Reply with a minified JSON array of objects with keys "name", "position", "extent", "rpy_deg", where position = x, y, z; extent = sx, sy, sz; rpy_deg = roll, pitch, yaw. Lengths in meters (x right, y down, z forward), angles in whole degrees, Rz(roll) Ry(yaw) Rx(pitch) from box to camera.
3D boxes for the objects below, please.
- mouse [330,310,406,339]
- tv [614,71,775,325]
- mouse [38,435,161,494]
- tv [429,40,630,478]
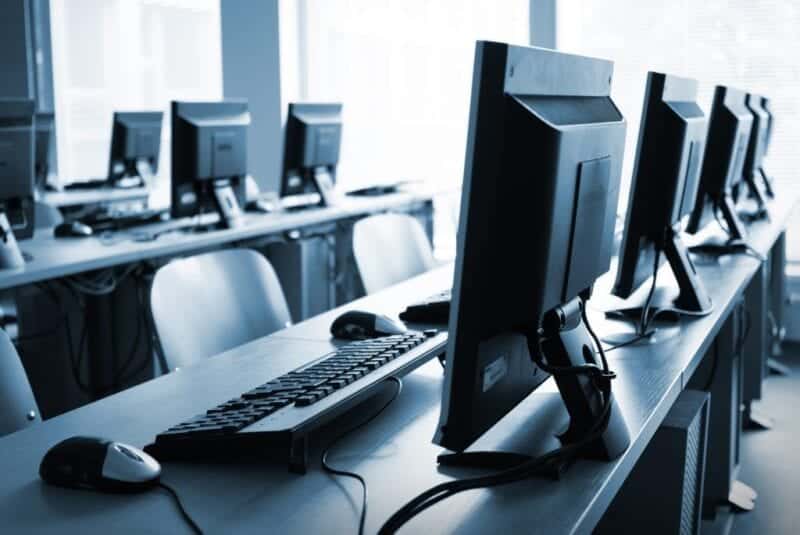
[{"name":"mouse","position":[-0.097,0.150,1.658],"extent":[0.150,0.056,0.086],"rpy_deg":[-4,-2,19]},{"name":"tv","position":[0.916,-0.187,1.980],"extent":[0.267,0.776,1.052],"rpy_deg":[7,9,30]},{"name":"mouse","position":[-0.534,0.343,1.116],"extent":[0.157,0.059,0.099],"rpy_deg":[3,6,9]},{"name":"tv","position":[0.292,-0.031,1.177],"extent":[0.222,0.725,0.529],"rpy_deg":[13,22,38]}]
